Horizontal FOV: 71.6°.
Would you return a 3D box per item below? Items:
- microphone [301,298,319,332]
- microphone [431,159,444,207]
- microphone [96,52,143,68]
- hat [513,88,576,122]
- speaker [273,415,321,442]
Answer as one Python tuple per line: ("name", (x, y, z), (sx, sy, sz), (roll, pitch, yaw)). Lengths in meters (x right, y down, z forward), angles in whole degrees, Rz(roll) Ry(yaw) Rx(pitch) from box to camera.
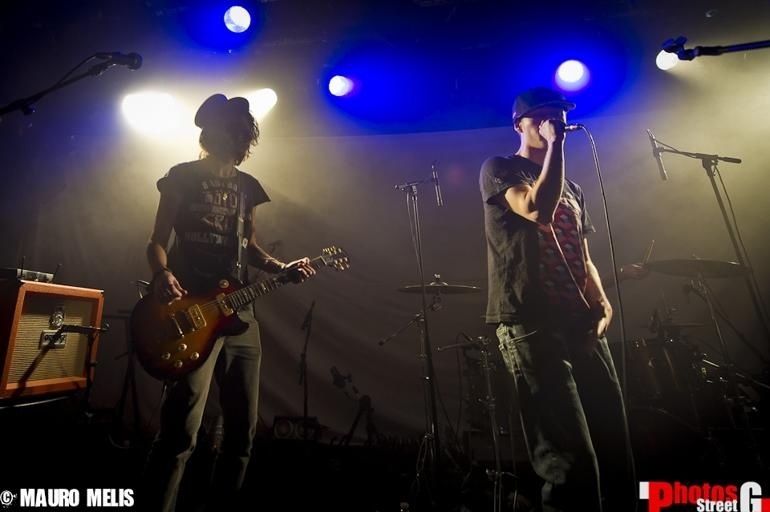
("microphone", (-0.938, 0.789, 6.862), (0.114, 0.455, 0.191), (17, 2, -6))
("microphone", (0.655, -0.941, 6.700), (0.097, 0.647, 0.088), (-7, 16, 26))
("microphone", (-2.493, -1.859, 5.036), (0.257, 0.118, 0.206), (0, 9, -37))
("hat", (1.411, -1.374, 4.876), (0.412, 0.214, 0.312), (-18, -1, 41))
("speaker", (-1.100, 2.085, 6.569), (0.421, 0.139, 0.340), (-1, -12, 9))
